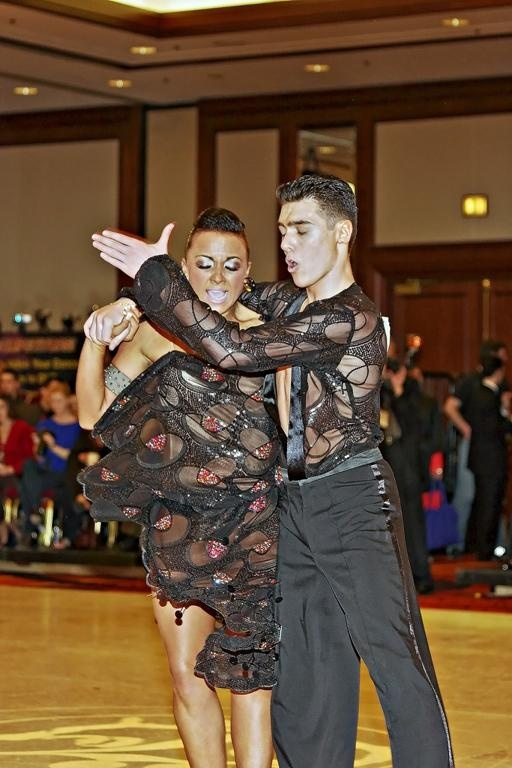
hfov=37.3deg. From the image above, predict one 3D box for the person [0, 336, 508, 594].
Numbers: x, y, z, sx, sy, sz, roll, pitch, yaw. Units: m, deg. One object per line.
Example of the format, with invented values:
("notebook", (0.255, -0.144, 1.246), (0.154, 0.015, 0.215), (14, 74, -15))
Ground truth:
("person", (-0.026, 0.418, 3.284), (2.562, 1.228, 0.775), (0, -5, 11))
